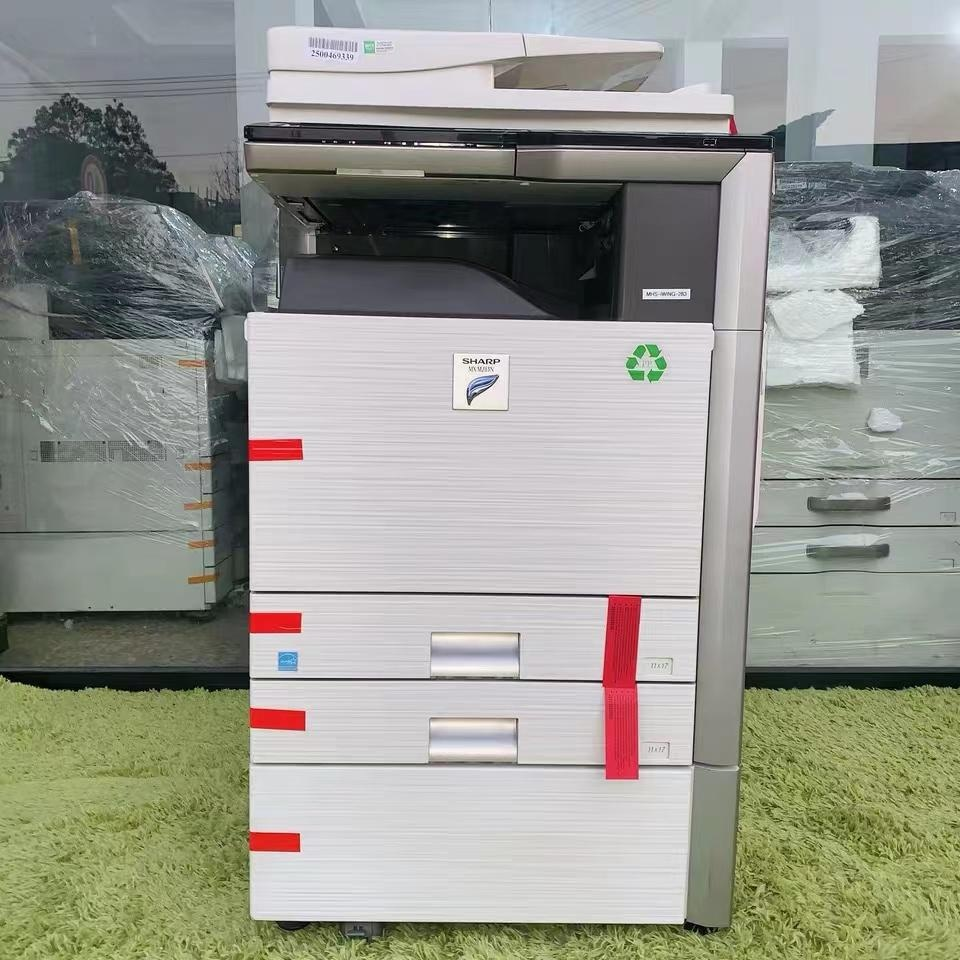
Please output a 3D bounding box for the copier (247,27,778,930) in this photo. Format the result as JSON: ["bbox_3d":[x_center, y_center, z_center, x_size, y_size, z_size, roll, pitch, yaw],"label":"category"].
[{"bbox_3d":[0.066,-0.051,2.541,1.429,1.533,0.963,0,7,0],"label":"copier"}]
